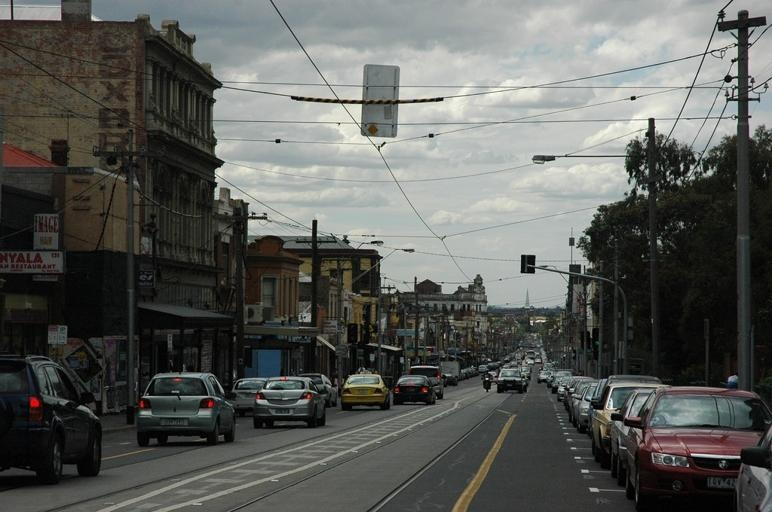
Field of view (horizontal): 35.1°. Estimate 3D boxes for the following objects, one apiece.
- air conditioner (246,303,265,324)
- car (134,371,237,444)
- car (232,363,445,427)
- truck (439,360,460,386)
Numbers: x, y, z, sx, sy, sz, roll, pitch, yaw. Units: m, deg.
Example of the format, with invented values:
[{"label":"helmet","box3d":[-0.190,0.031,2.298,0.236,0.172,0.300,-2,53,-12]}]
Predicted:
[{"label":"air conditioner","box3d":[-8.843,3.731,80.847,1.033,1.496,1.492,-1,-3,33]},{"label":"car","box3d":[-8.229,5.059,41.551,3.001,2.416,6.813,1,-1,1]},{"label":"car","box3d":[-3.551,5.846,48.686,2.793,2.580,6.810,-1,-5,2]},{"label":"truck","box3d":[6.981,13.143,135.542,1.811,2.717,5.112,1,4,9]}]
